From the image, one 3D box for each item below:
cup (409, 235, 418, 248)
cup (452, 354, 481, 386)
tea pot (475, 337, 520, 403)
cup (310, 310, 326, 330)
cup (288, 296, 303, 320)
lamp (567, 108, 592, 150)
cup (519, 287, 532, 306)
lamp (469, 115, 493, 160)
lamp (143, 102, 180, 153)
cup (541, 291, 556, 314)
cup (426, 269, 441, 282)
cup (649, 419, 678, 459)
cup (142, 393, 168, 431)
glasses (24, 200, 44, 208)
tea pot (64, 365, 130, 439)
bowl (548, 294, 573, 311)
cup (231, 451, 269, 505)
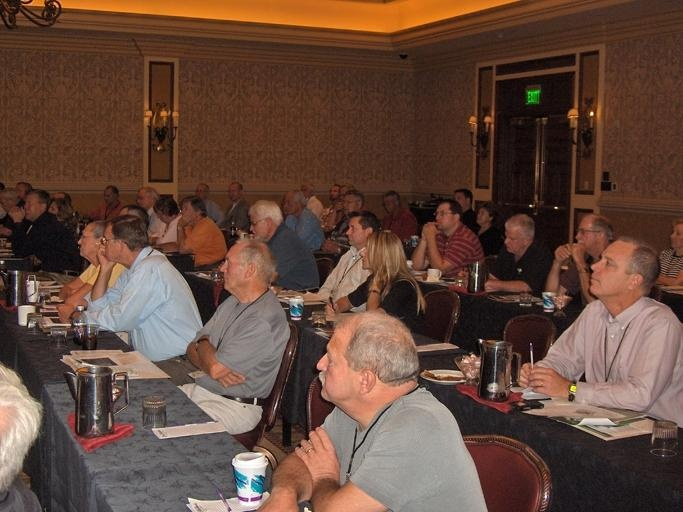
[{"bbox_3d":[1.097,-0.224,8.589,0.156,0.208,0.155,0,-1,0],"label":"cup"},{"bbox_3d":[0.633,0.576,2.826,0.120,0.093,0.119,-1,-5,0],"label":"cup"},{"bbox_3d":[0.692,0.520,2.526,0.199,0.248,0.156,5,-2,31],"label":"tea pot"},{"bbox_3d":[-0.176,0.452,4.031,0.110,0.081,0.098,4,5,26],"label":"cup"},{"bbox_3d":[-0.328,0.395,4.276,0.145,0.167,0.147,-1,1,0],"label":"cup"},{"bbox_3d":[3.951,-2.121,9.377,0.410,0.683,0.403,-7,9,-44],"label":"lamp"},{"bbox_3d":[1.594,0.361,4.856,0.126,0.144,0.131,0,-7,0],"label":"cup"},{"bbox_3d":[2.776,-2.361,11.226,0.199,0.861,0.461,-6,9,-39],"label":"lamp"},{"bbox_3d":[-3.666,-2.608,11.493,0.645,0.962,0.234,-3,8,-22],"label":"lamp"},{"bbox_3d":[1.651,0.366,4.508,0.135,0.145,0.132,1,-14,0],"label":"cup"},{"bbox_3d":[0.914,0.203,5.597,0.140,0.096,0.105,5,-6,-9],"label":"cup"},{"bbox_3d":[1.160,0.652,2.038,0.109,0.120,0.111,-1,-3,0],"label":"cup"},{"bbox_3d":[-0.709,0.587,2.137,0.104,0.114,0.104,0,3,0],"label":"cup"},{"bbox_3d":[-3.814,-0.632,7.013,0.164,0.092,0.121,0,0,-31],"label":"glasses"},{"bbox_3d":[-0.879,0.522,2.023,0.223,0.216,0.136,3,-3,-14],"label":"tea pot"},{"bbox_3d":[1.746,0.362,4.471,0.142,0.101,0.133,1,-11,0],"label":"bowl"},{"bbox_3d":[-0.257,0.631,1.640,0.131,0.137,0.131,0,-4,0],"label":"cup"}]
